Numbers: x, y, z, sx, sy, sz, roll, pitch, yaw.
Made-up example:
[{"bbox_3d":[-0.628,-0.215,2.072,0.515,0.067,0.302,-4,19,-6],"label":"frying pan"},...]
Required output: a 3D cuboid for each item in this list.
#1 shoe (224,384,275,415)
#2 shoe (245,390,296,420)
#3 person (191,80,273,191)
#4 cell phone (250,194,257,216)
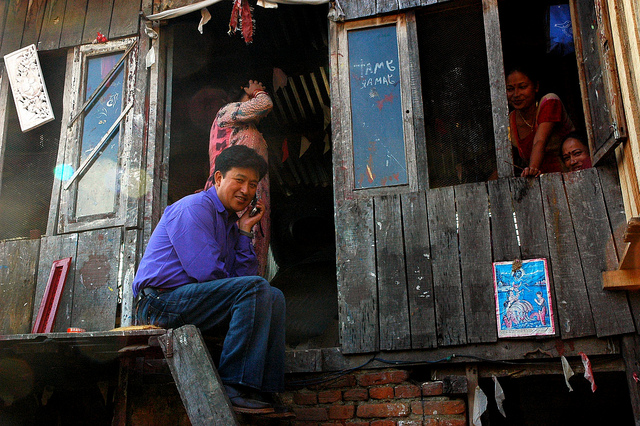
[{"bbox_3d":[-0.513,1.549,5.286,0.524,0.227,0.186,5,-9,7],"label":"shoe"},{"bbox_3d":[-0.481,1.649,5.453,0.526,0.236,0.186,-5,-7,36],"label":"shoe"},{"bbox_3d":[-1.054,-1.013,7.612,0.541,0.594,1.391,-4,36,-15],"label":"person"},{"bbox_3d":[-0.670,-0.064,6.469,0.045,0.189,0.047,15,-20,-16],"label":"cell phone"}]
